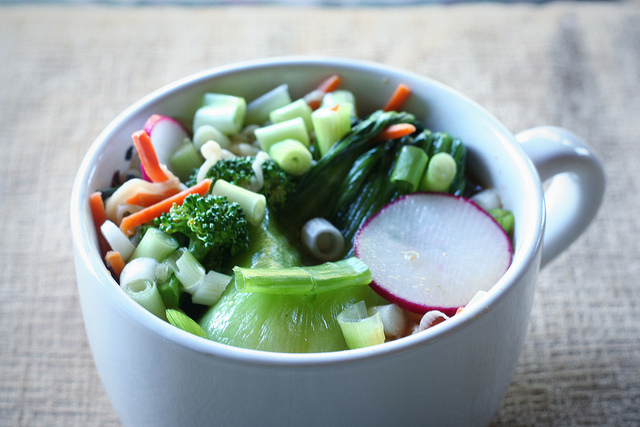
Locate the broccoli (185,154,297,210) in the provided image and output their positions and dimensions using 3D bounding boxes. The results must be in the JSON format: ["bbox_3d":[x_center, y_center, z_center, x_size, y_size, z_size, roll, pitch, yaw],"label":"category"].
[{"bbox_3d":[-0.157,-0.063,1.351,0.178,0.137,0.069,0,87,12],"label":"broccoli"}]
